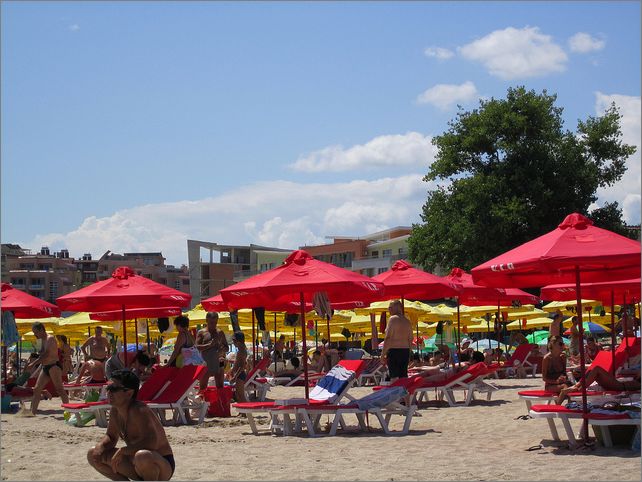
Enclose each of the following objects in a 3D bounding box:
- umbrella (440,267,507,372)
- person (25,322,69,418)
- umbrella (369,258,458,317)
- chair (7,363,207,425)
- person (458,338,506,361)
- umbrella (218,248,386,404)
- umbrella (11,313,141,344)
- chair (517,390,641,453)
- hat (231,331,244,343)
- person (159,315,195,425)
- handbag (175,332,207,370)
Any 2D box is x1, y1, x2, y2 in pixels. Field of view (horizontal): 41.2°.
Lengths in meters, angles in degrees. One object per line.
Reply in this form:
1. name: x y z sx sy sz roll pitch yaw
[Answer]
1. umbrella: 3.440 1.903 21.013 1.918 2.443 2.072 -3 4 -37
2. person: -5.599 2.622 17.382 0.893 1.893 0.772 -1 -8 -23
3. umbrella: 1.990 0.882 17.878 1.257 0.693 1.234 2 5 41
4. chair: -3.255 2.837 15.841 2.088 1.071 1.253 5 -7 -31
5. person: 4.865 3.311 25.936 1.247 0.512 1.295 -1 -5 3
6. umbrella: -0.430 1.626 15.648 2.638 2.829 2.686 0 -4 -9
7. umbrella: -6.864 2.432 23.914 1.850 0.695 1.865 0 -7 -5
8. chair: 3.761 2.917 13.755 1.011 0.751 0.781 -2 2 -8
9. hat: -1.704 1.975 17.478 0.156 0.206 0.214 5 14 11
10. person: -2.766 2.272 16.651 0.438 1.857 0.526 7 20 9
11. handbag: -2.539 2.110 16.398 0.698 1.032 0.437 1 -7 -21
